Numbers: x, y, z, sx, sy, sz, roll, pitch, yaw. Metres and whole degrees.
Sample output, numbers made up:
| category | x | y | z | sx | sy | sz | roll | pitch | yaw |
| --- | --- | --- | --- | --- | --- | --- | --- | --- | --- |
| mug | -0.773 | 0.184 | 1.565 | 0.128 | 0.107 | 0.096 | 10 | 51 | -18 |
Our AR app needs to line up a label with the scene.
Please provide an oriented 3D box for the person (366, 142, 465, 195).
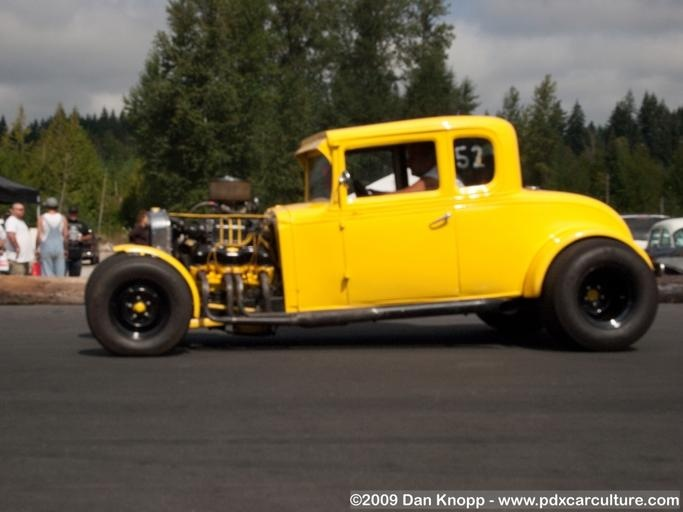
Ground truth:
| category | x | y | z | sx | sy | sz | roll | pitch | yaw |
| --- | --- | --- | --- | --- | --- | --- | --- | --- | --- |
| person | 0.660 | -0.938 | 8.845 | 0.735 | 0.327 | 0.576 | -2 | -1 | 8 |
